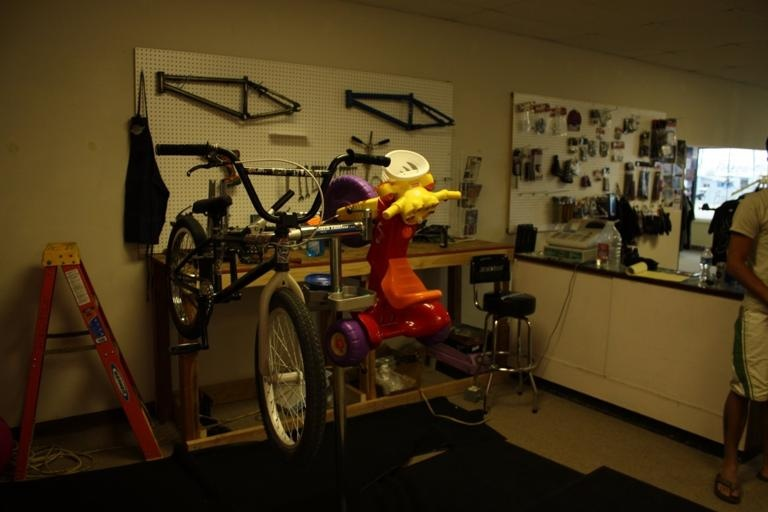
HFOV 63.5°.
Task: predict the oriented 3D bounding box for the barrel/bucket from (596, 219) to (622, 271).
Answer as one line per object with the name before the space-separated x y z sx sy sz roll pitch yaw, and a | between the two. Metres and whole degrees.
barrel/bucket | 2.109 -0.088 5.783 0.217 0.352 0.588 5 15 20

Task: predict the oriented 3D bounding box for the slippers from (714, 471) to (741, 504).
slippers | 2.539 1.713 4.607 0.216 0.152 0.114 5 7 42

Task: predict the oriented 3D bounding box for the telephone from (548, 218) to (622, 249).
telephone | 2.007 -0.210 6.033 0.482 0.179 0.355 -5 9 -32
